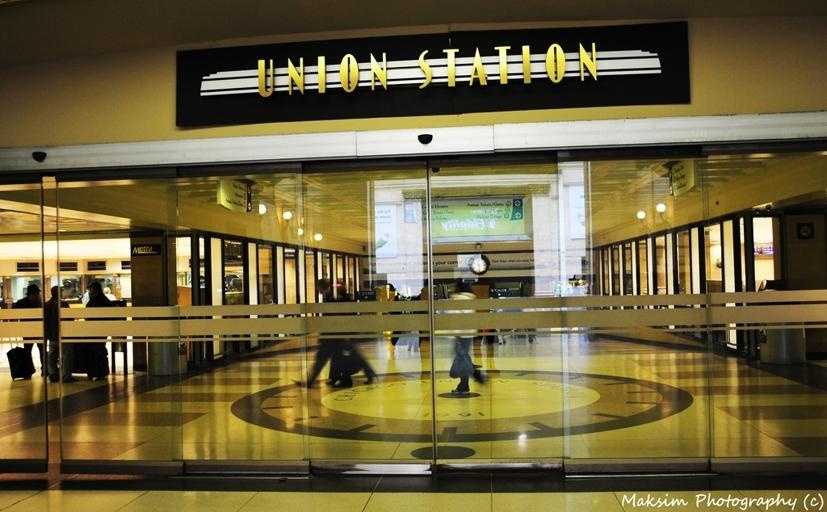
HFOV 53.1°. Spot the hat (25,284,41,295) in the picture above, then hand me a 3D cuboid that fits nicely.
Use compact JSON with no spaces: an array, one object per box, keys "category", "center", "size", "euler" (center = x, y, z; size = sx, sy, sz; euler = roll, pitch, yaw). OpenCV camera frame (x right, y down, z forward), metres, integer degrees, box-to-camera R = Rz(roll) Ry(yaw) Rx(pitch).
[{"category":"hat","center":[-5.650,0.475,12.359],"size":[0.245,0.171,0.065],"euler":[-2,-3,20]}]

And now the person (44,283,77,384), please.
[{"category":"person","center":[-5.253,1.141,12.288],"size":[0.404,1.415,0.226],"euler":[-1,-3,-13]}]

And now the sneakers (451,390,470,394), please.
[{"category":"sneakers","center":[0.698,1.966,12.037],"size":[0.245,0.086,0.075],"euler":[2,-3,1]}]

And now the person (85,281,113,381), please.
[{"category":"person","center":[-4.678,1.109,12.424],"size":[0.363,1.463,0.277],"euler":[-1,-3,-14]}]
